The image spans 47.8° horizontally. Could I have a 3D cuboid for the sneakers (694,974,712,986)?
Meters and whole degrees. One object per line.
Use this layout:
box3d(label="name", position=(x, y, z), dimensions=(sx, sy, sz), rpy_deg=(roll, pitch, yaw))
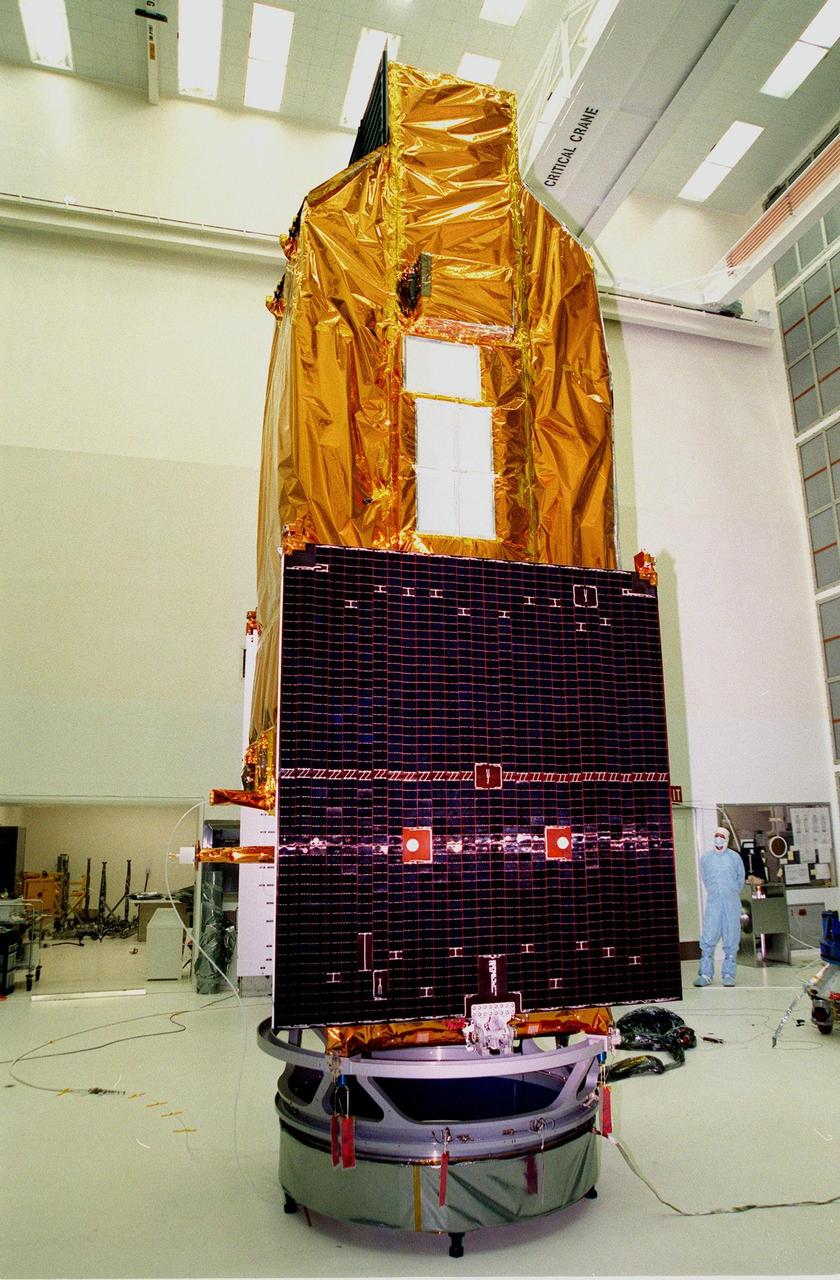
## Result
box3d(label="sneakers", position=(2.953, 3.562, 9.953), dimensions=(0.167, 0.115, 0.394), rpy_deg=(-4, -13, 17))

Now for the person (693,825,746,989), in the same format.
box3d(label="person", position=(3.226, 2.875, 10.280), dimensions=(0.549, 1.602, 0.923), rpy_deg=(-4, -12, 18))
